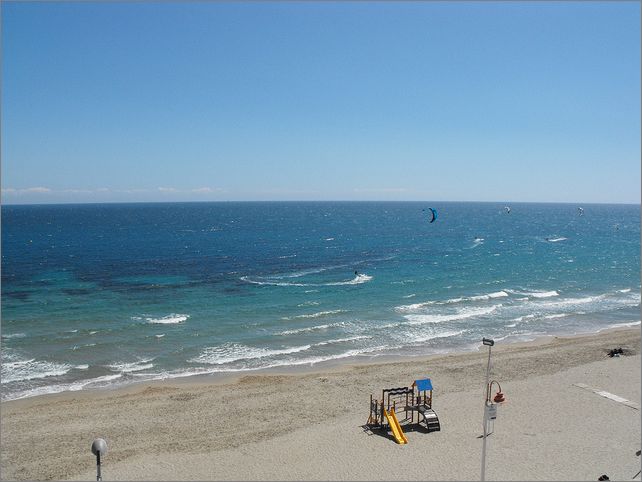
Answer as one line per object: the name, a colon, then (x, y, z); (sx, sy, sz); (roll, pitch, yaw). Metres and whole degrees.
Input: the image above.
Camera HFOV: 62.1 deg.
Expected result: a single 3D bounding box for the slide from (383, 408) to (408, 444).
slide: (4.752, 11.753, 34.124); (0.725, 0.630, 2.695); (1, 31, -10)
